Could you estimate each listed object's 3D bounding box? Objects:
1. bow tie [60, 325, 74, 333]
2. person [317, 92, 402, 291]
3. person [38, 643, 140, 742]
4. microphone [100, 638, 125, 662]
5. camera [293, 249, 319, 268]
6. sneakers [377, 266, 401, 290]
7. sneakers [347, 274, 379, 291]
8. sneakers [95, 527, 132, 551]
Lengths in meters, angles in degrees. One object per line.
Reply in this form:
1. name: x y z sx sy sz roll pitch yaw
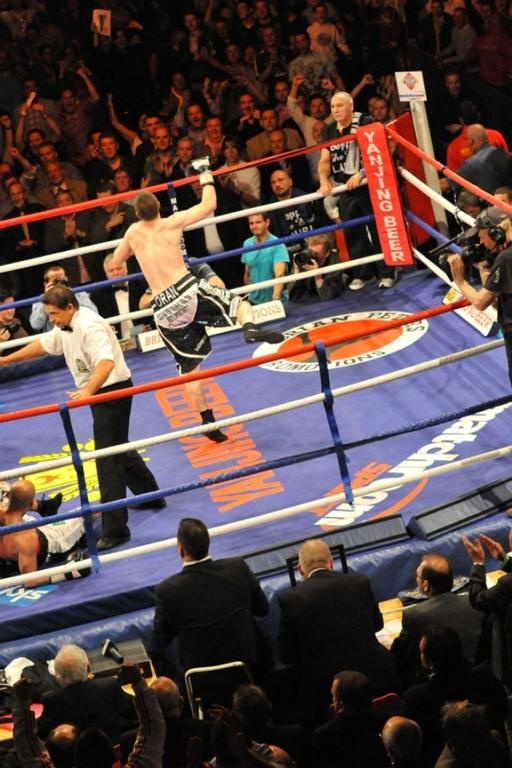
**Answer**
1. bow tie: -0.998 -0.287 4.078 0.052 0.030 0.068 -16 7 -33
2. person: 0.800 -1.527 6.304 0.494 1.160 1.119 -15 6 8
3. person: -0.620 1.154 2.879 0.428 0.264 0.757 -6 -30 -4
4. microphone: -0.619 1.153 3.344 0.054 0.066 0.167 -7 18 -25
5. camera: 0.405 -1.051 6.485 0.157 0.107 0.256 -12 5 15
6. sneakers: 1.155 -0.943 6.720 0.107 0.116 0.298 1 22 25
7. sneakers: 0.921 -0.895 6.798 0.264 0.097 0.090 -13 30 -15
8. sneakers: -0.756 0.827 4.156 0.204 0.072 0.076 -8 13 -26
